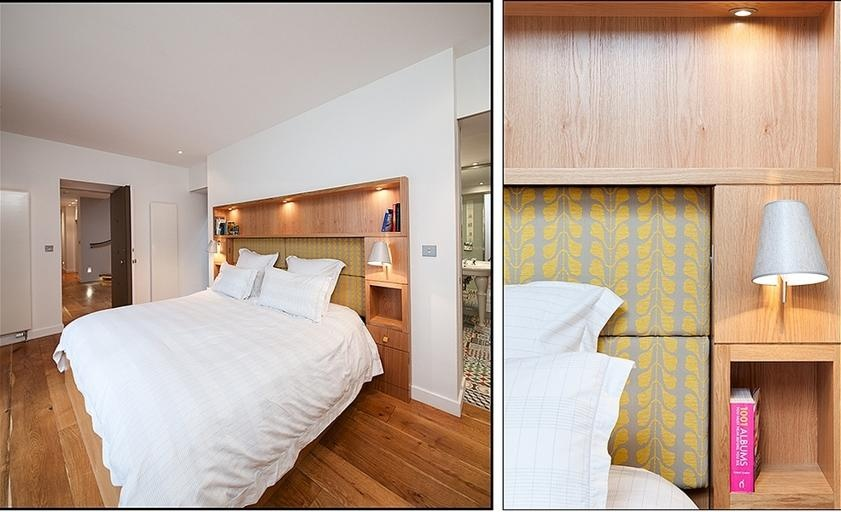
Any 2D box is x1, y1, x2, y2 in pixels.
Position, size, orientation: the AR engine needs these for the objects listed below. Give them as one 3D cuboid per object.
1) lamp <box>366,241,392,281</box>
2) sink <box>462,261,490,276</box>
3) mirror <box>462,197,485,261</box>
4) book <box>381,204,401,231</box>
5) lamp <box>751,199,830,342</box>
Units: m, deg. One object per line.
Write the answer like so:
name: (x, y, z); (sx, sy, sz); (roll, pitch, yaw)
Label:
lamp: (-0.361, 0.024, 4.451); (0.253, 0.312, 0.115); (1, 1, 33)
sink: (0.561, 0.118, 5.440); (0.261, 0.155, 0.481); (1, 0, 2)
mirror: (0.554, -0.301, 5.560); (0.228, 0.666, 0.369); (1, 1, 6)
book: (-0.236, -0.321, 4.451); (0.149, 0.219, 0.237); (3, 1, -21)
lamp: (2.350, 0.000, 3.391); (0.512, 0.711, 0.119); (1, 1, 0)
